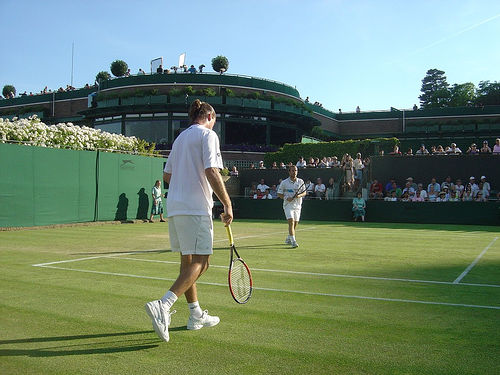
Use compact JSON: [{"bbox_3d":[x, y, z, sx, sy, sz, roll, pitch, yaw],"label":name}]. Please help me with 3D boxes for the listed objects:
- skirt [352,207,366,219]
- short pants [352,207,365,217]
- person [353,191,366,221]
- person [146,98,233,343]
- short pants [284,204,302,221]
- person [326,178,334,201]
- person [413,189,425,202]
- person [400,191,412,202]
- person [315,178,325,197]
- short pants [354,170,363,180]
[{"bbox_3d":[5.704,1.316,24.608,0.499,0.493,0.198,4,33,22],"label":"skirt"},{"bbox_3d":[5.689,1.263,24.582,0.417,0.399,0.168,5,28,23],"label":"short pants"},{"bbox_3d":[5.712,1.051,24.655,0.651,1.479,0.410,1,3,14],"label":"person"},{"bbox_3d":[-0.705,0.325,5.662,0.972,2.841,0.772,-1,3,-19],"label":"person"},{"bbox_3d":[1.269,0.693,13.097,0.552,0.601,0.372,8,-15,-35],"label":"short pants"},{"bbox_3d":[4.596,0.063,27.062,0.441,1.097,1.412,0,3,9],"label":"person"},{"bbox_3d":[8.497,0.412,23.751,0.533,0.532,0.701,1,3,18],"label":"person"},{"bbox_3d":[8.044,0.443,24.272,0.388,0.461,0.731,0,3,6],"label":"person"},{"bbox_3d":[4.055,0.036,27.236,0.590,1.193,0.655,-7,-43,15],"label":"person"},{"bbox_3d":[6.283,-0.770,27.397,0.549,0.571,0.136,4,1,25],"label":"short pants"}]
